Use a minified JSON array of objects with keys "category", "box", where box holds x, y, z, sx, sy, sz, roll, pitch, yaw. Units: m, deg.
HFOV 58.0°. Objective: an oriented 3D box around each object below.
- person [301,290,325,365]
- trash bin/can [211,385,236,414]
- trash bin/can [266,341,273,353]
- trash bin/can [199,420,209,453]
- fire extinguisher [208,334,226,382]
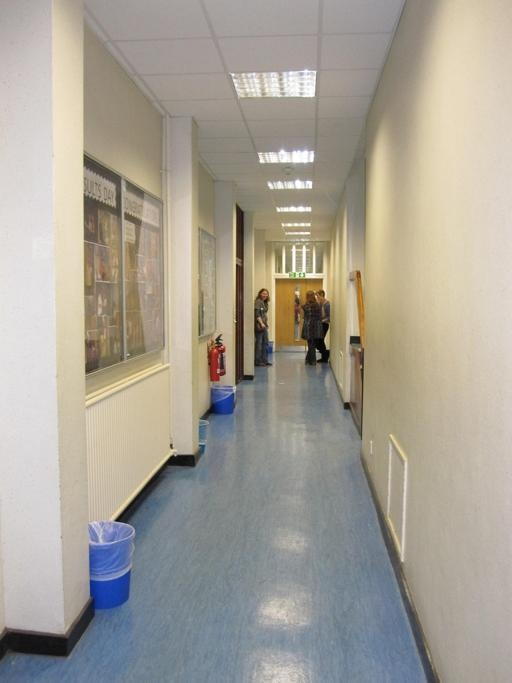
[{"category":"person","box":[1.388,-0.299,11.433,0.469,1.811,1.022,0,1,7]},{"category":"trash bin/can","box":[-0.470,0.814,6.630,0.251,0.389,0.310,0,0,10]},{"category":"trash bin/can","box":[0.457,0.182,14.616,0.207,0.579,0.235,0,-1,-6]},{"category":"trash bin/can","box":[-0.558,0.994,4.836,0.149,0.346,0.200,-1,8,-4]},{"category":"fire extinguisher","box":[-0.553,0.231,6.397,0.229,0.594,0.297,0,1,-11]}]
